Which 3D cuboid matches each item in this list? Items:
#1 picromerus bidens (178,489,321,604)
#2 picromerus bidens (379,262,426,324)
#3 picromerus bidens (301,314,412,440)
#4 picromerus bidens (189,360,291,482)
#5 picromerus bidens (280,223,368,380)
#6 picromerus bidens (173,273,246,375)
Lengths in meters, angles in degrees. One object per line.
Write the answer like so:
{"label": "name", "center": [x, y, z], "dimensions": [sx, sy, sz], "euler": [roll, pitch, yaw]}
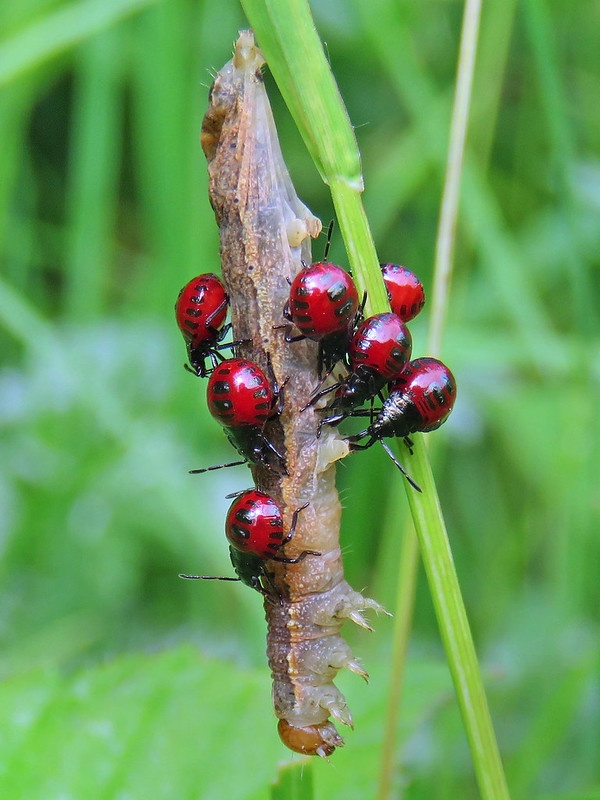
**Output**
{"label": "picromerus bidens", "center": [-0.099, 0.289, 1.816], "dimensions": [0.252, 0.258, 0.080], "euler": [16, 3, 39]}
{"label": "picromerus bidens", "center": [0.213, -0.219, 1.865], "dimensions": [0.076, 0.116, 0.095], "euler": [-33, 9, -22]}
{"label": "picromerus bidens", "center": [0.118, -0.053, 1.770], "dimensions": [0.126, 0.158, 0.305], "euler": [0, -19, -26]}
{"label": "picromerus bidens", "center": [-0.096, 0.018, 1.802], "dimensions": [0.160, 0.234, 0.226], "euler": [-8, -17, -1]}
{"label": "picromerus bidens", "center": [0.048, -0.197, 1.734], "dimensions": [0.208, 0.265, 0.093], "euler": [7, 22, 18]}
{"label": "picromerus bidens", "center": [-0.213, -0.181, 1.967], "dimensions": [0.187, 0.220, 0.198], "euler": [-6, 21, -8]}
